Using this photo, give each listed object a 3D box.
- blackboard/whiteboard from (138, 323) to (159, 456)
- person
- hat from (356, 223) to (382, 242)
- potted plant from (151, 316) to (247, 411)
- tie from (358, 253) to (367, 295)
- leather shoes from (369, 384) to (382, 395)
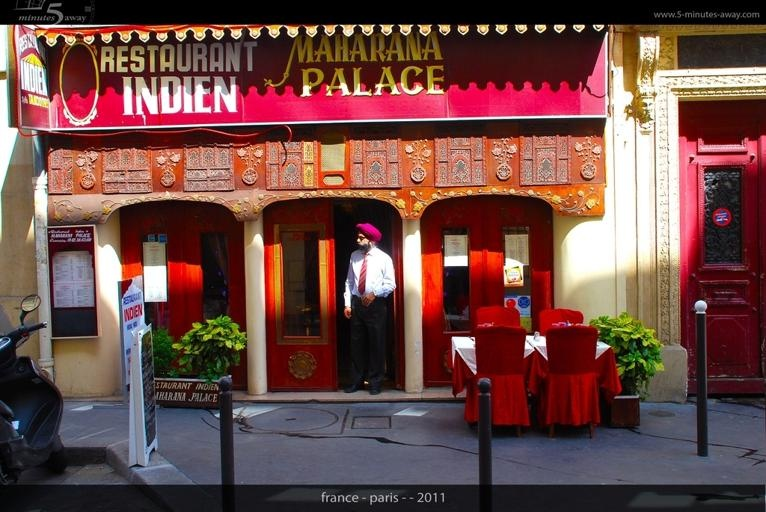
[{"bbox_3d":[-3.026,1.771,11.111,0.149,1.724,0.547,0,0,-6],"label":"blackboard/whiteboard"},{"bbox_3d":[-0.216,0.848,13.609,0.757,2.668,0.454,0,0,-3],"label":"person"},{"bbox_3d":[-0.230,-0.346,13.566,0.335,0.286,0.259,0,0,0],"label":"hat"},{"bbox_3d":[-2.770,1.666,13.335,1.514,1.529,1.055,-7,-15,32],"label":"potted plant"},{"bbox_3d":[-0.321,0.325,13.456,0.150,0.609,0.087,0,0,15],"label":"tie"},{"bbox_3d":[-0.130,2.113,13.539,0.117,0.142,0.352,0,-8,5],"label":"leather shoes"}]
